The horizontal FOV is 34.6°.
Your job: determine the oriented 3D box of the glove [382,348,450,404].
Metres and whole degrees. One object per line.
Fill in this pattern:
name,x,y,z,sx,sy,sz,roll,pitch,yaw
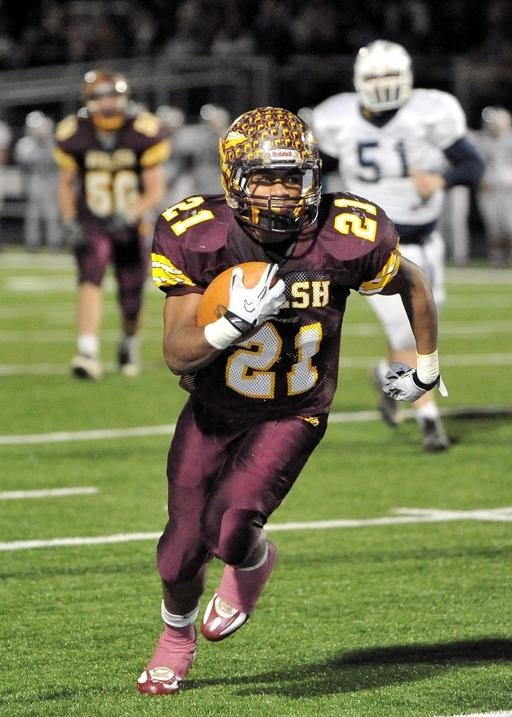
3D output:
glove,0.400,0.058,2.128,0.079,0.129,0.160,-11,-9,29

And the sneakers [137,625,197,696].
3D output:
sneakers,-0.185,0.658,1.789,0.066,0.075,0.181,11,1,9

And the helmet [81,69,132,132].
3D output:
helmet,-1.017,-1.787,5.677,0.302,0.416,0.405,-2,6,-9

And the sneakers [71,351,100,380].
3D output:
sneakers,-0.799,0.048,3.912,0.082,0.078,0.192,-1,-19,-1

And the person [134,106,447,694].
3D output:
person,0.027,0.075,1.893,0.447,1.284,0.743,5,9,41

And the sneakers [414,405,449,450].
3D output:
sneakers,0.914,0.358,4.248,0.116,0.276,0.140,-21,-7,20

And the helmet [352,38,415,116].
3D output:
helmet,0.654,-1.459,4.221,0.276,0.382,0.287,0,7,8

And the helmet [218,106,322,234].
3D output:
helmet,0.036,-0.409,1.786,0.226,0.302,0.228,-1,7,-1

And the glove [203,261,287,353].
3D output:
glove,-0.026,-0.090,1.568,0.141,0.190,0.056,55,1,31

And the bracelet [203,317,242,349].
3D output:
bracelet,-0.069,-0.048,1.572,0.059,0.053,0.066,-7,-33,-35
